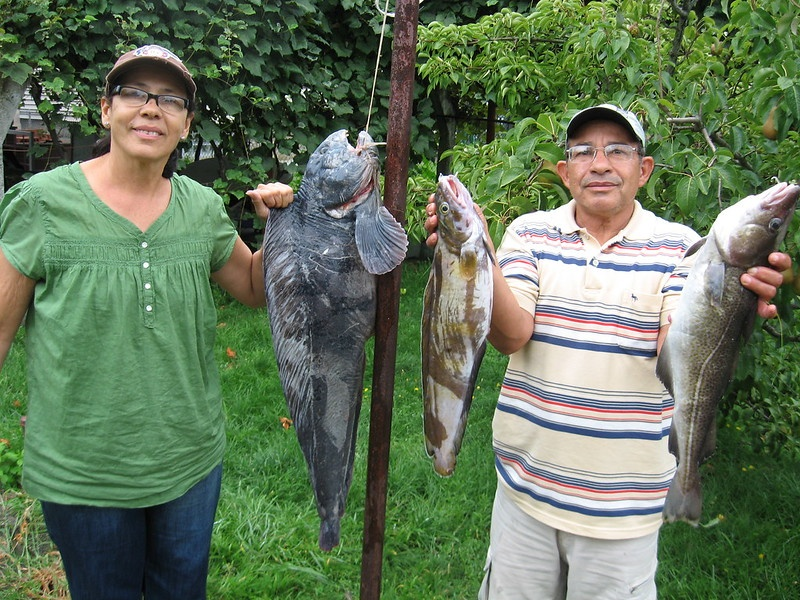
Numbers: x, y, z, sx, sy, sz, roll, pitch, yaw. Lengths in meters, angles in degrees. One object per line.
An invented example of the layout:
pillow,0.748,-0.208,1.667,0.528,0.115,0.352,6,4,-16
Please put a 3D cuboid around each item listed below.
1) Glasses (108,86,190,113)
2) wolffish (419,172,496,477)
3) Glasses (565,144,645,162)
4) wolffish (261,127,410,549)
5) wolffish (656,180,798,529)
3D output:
Glasses,-1.036,-0.823,3.113,0.288,0.104,0.077,-1,8,-20
wolffish,0.230,0.116,3.265,0.416,1.321,0.277,3,6,-1
Glasses,0.885,-0.633,3.272,0.320,0.078,0.105,5,8,19
wolffish,-0.267,0.048,3.447,0.636,1.900,0.563,3,5,14
wolffish,1.281,0.210,2.977,0.459,1.332,0.207,1,7,0
